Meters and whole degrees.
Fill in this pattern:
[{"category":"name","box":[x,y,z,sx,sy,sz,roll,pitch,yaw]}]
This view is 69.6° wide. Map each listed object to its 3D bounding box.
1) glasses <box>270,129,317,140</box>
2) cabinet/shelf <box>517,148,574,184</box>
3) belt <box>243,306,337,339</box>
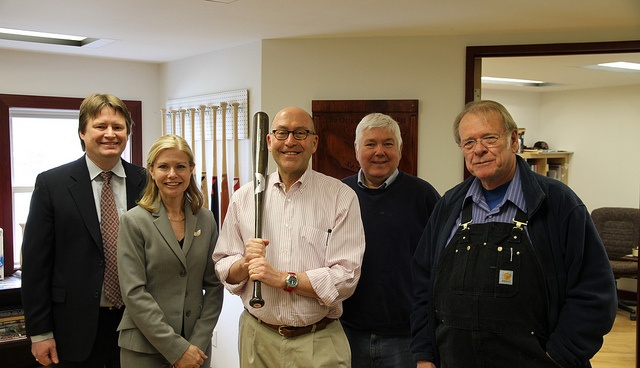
[{"category":"glasses","box":[-0.189,-0.333,3.136,0.285,0.074,0.060,-1,4,-7]},{"category":"cabinet/shelf","box":[3.058,-0.266,6.206,0.643,0.598,0.223,8,-2,-31]},{"category":"belt","box":[-0.192,0.970,3.142,0.576,0.120,0.124,0,4,1]}]
